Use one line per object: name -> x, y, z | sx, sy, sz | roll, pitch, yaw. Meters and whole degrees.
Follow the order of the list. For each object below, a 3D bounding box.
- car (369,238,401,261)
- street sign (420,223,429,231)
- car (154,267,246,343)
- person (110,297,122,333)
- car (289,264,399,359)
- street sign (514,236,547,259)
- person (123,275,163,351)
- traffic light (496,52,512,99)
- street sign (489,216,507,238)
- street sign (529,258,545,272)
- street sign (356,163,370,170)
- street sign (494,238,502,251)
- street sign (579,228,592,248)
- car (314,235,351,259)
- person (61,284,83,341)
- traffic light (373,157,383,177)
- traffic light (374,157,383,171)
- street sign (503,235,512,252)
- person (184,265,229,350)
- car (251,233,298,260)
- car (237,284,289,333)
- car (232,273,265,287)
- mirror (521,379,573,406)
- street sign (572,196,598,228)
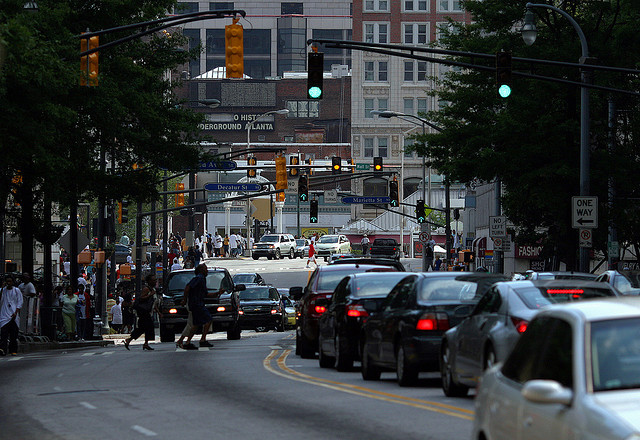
car -> 4.762, 2.136, 82.558 | 1.855, 1.393, 3.312 | 1, 2, 5
street sign -> 6.821, 0.298, 73.478 | 0.690, 0.674, 0.397 | 1, 4, 9
car -> -3.930, 2.614, 36.832 | 2.692, 2.365, 2.187 | -3, -5, 31
person -> -8.816, 4.011, 49.536 | 0.406, 1.469, 2.056 | 1, -4, -11
car -> 0.633, 2.024, 25.874 | 2.471, 1.833, 5.105 | -1, 0, -2
street sign -> 11.189, 1.526, 61.068 | 1.422, 0.686, 1.948 | 0, -5, 5
person -> -5.311, 2.682, 34.255 | 1.051, 2.254, 0.814 | -2, -11, -1
traffic light -> 5.050, -3.957, 30.949 | 0.418, 1.109, 1.261 | -1, -4, 9
street sign -> 7.185, 0.172, 45.496 | 0.852, 1.037, 0.112 | 2, 0, 2
street sign -> 9.801, 1.886, 50.917 | 0.429, 0.791, 0.830 | 2, -5, -33
street sign -> 2.708, -3.425, 69.741 | 0.674, 0.476, 2.293 | -1, -4, 6
street sign -> 7.255, 0.857, 45.863 | 0.277, 0.456, 0.434 | -1, -4, 8
street sign -> 8.322, 0.457, 35.426 | 0.338, 0.577, 0.524 | -1, -4, 7
car -> 1.089, 1.758, 89.441 | 1.504, 1.158, 2.607 | -2, -4, 16
person -> -8.709, 3.131, 39.700 | 0.536, 1.868, 1.420 | 1, -4, -12
traffic light -> 3.290, -3.043, 62.997 | 0.384, 1.175, 1.123 | 0, -4, -3
traffic light -> 3.303, -3.196, 63.102 | 0.344, 0.775, 0.692 | 0, -4, -4
street sign -> 7.685, 0.801, 46.328 | 0.503, 0.722, 0.225 | -3, -8, 41
person -> -3.433, 2.389, 32.292 | 0.745, 2.361, 1.299 | 0, -4, -6
car -> -3.694, 1.941, 90.980 | 1.701, 1.329, 3.511 | -1, -6, 16
car -> -2.233, 3.322, 43.679 | 1.971, 1.620, 3.435 | -1, -8, -1
car -> -3.054, 2.433, 48.712 | 0.868, 0.646, 2.028 | 0, -7, 3
mirror -> 2.696, 1.985, 13.396 | 0.564, 0.278, 0.323 | -1, -4, 6
street sign -> 8.178, -0.314, 34.886 | 0.989, 1.232, 0.130 | 0, 1, 10
